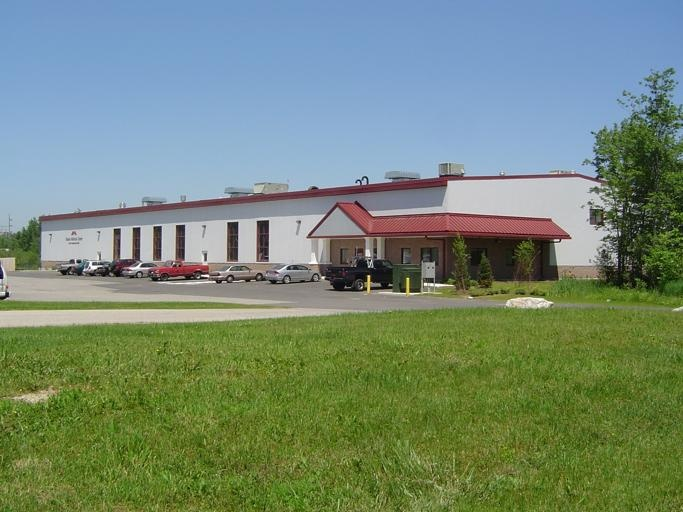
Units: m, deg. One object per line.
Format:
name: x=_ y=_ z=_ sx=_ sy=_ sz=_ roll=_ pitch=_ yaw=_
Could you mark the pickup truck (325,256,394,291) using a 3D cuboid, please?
pickup truck: x=1.182 y=1.027 z=46.265 sx=3.684 sy=1.316 sz=1.763 roll=-3 pitch=3 yaw=-35
